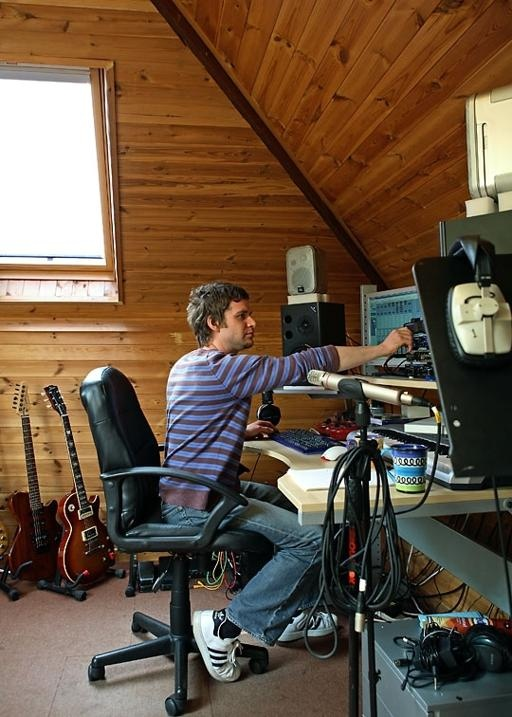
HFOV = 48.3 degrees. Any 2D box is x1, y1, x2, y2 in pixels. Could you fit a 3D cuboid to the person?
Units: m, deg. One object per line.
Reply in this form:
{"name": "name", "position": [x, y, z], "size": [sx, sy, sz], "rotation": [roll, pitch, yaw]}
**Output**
{"name": "person", "position": [0.047, 0.405, 2.043], "size": [0.804, 1.215, 0.709], "rotation": [-1, -4, -23]}

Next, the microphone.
{"name": "microphone", "position": [0.226, 0.061, 1.180], "size": [0.147, 0.061, 0.343], "rotation": [-2, -1, -10]}

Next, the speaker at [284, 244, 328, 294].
{"name": "speaker", "position": [0.261, -0.428, 2.858], "size": [0.143, 0.227, 0.179], "rotation": [3, -6, -42]}

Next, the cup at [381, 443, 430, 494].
{"name": "cup", "position": [0.371, 0.279, 1.465], "size": [0.152, 0.109, 0.100], "rotation": [0, -2, 32]}

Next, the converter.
{"name": "converter", "position": [0.431, 0.732, 1.431], "size": [0.152, 0.070, 0.195], "rotation": [13, 18, 35]}

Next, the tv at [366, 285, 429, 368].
{"name": "tv", "position": [0.674, -0.163, 2.806], "size": [0.467, 0.311, 0.107], "rotation": [-5, 3, -36]}
